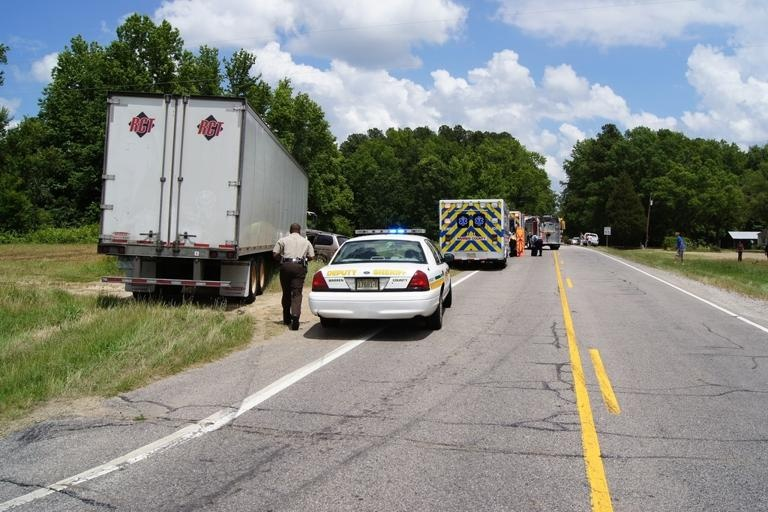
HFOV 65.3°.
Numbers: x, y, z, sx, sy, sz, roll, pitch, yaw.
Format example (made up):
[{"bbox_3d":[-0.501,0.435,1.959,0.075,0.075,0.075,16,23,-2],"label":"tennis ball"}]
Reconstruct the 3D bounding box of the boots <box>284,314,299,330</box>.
[{"bbox_3d":[-1.924,1.309,12.444,0.214,0.313,0.708,-3,12,-21],"label":"boots"}]

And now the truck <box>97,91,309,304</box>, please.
[{"bbox_3d":[-4.380,-1.399,15.545,2.962,5.267,5.398,3,11,12],"label":"truck"}]

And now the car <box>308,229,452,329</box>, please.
[{"bbox_3d":[-0.116,0.476,11.294,1.446,1.224,3.294,-1,3,10],"label":"car"}]
